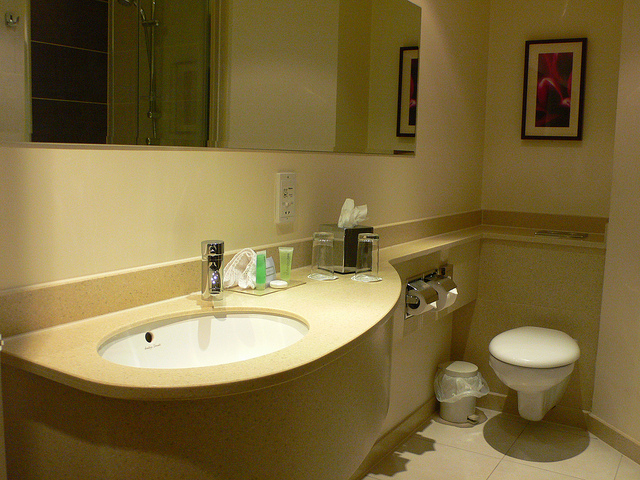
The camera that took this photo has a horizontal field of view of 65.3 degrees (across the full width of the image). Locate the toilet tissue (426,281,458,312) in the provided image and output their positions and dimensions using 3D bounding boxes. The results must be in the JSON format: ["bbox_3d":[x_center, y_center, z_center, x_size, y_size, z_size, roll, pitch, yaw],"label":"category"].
[{"bbox_3d":[0.545,0.254,2.249,0.088,0.168,0.146,-18,10,-34],"label":"toilet tissue"}]

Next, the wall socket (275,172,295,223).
[{"bbox_3d":[-0.127,-0.152,1.811,0.024,0.176,0.094,9,12,39],"label":"wall socket"}]

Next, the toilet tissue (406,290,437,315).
[{"bbox_3d":[0.440,0.284,2.230,0.113,0.108,0.137,-9,3,24],"label":"toilet tissue"}]

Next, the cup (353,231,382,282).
[{"bbox_3d":[0.194,0.061,1.837,0.144,0.191,0.154,1,11,0],"label":"cup"}]

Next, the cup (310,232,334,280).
[{"bbox_3d":[0.008,0.056,1.737,0.083,0.151,0.104,1,9,0],"label":"cup"}]

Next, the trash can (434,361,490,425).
[{"bbox_3d":[0.796,0.877,2.896,0.315,0.315,0.317,-6,11,-29],"label":"trash can"}]

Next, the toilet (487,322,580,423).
[{"bbox_3d":[1.132,0.731,2.653,0.398,0.432,0.490,4,18,38],"label":"toilet"}]

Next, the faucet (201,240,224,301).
[{"bbox_3d":[-0.309,0.089,1.411,0.067,0.170,0.048,1,9,2],"label":"faucet"}]
